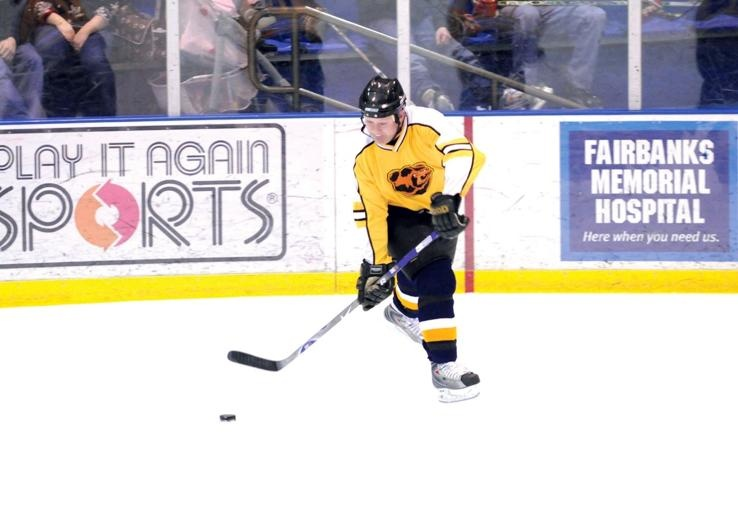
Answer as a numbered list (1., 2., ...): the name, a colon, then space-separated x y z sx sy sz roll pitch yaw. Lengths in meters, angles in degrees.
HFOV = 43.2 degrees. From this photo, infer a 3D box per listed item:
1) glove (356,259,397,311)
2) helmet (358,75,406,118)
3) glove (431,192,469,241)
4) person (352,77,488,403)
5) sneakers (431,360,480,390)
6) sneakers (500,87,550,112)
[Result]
1. glove: 0.017 0.157 4.970 0.232 0.249 0.134 19 4 34
2. helmet: 0.073 -0.815 4.749 0.189 0.219 0.196 3 6 19
3. glove: 0.404 -0.203 4.781 0.179 0.240 0.177 0 6 -5
4. person: 0.288 -0.111 5.000 0.714 1.661 0.757 2 7 11
5. sneakers: 0.436 0.619 4.756 0.104 0.138 0.266 -4 7 -39
6. sneakers: 1.137 -1.157 6.745 0.303 0.173 0.094 -1 -10 0
